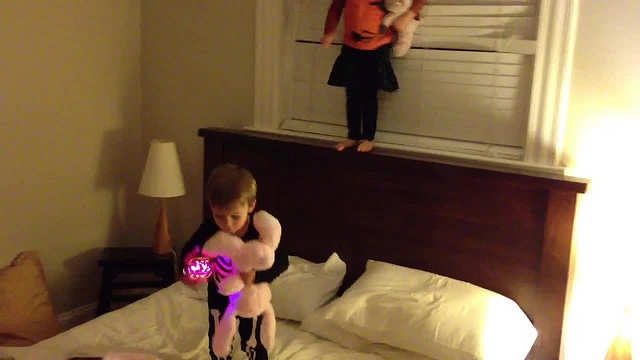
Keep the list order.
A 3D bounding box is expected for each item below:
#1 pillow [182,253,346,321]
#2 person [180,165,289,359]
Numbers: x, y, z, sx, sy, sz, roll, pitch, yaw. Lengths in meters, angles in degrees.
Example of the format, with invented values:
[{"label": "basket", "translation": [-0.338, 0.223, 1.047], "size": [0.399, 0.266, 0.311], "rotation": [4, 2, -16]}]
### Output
[{"label": "pillow", "translation": [-0.285, 0.926, 3.763], "size": [0.768, 0.251, 0.673], "rotation": [-17, -43, 39]}, {"label": "person", "translation": [-0.530, 0.544, 3.046], "size": [0.646, 1.289, 0.304], "rotation": [0, 9, -15]}]
